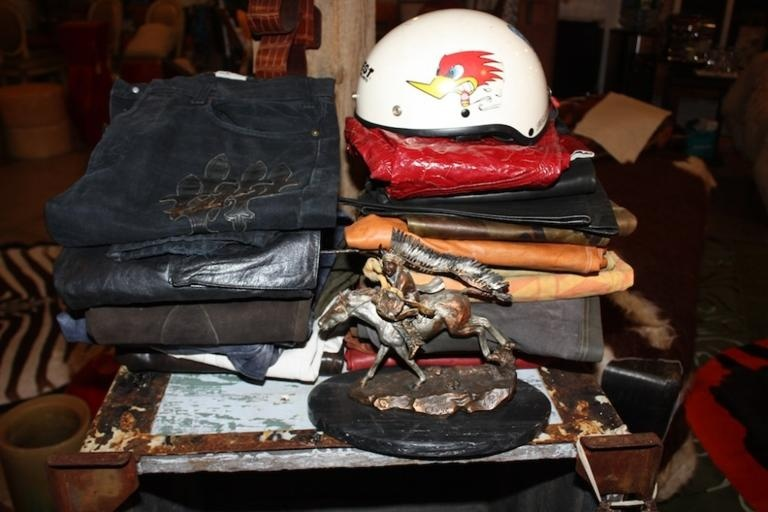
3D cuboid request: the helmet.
[{"bbox_3d":[0.161,-0.428,1.628,0.344,0.214,0.325,-12,34,-9],"label":"helmet"}]
